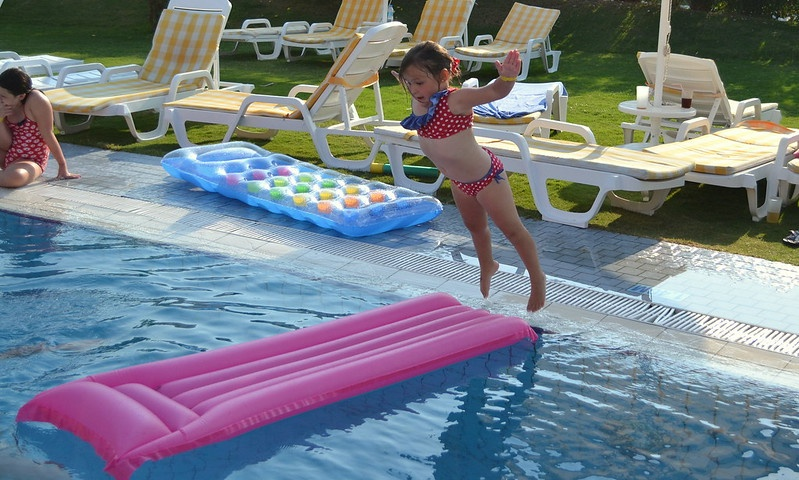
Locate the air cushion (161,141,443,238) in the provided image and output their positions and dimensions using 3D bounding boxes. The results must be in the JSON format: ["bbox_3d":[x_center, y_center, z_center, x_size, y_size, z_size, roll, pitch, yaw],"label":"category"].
[{"bbox_3d":[-1.270,-0.606,6.606,3.185,0.336,1.222,13,17,23],"label":"air cushion"}]

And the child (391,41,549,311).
[{"bbox_3d":[0.587,-0.420,4.649,1.334,1.962,0.828,11,18,38],"label":"child"}]

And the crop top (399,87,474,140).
[{"bbox_3d":[0.286,-0.897,4.413,0.558,0.264,0.443,-5,0,-28],"label":"crop top"}]
